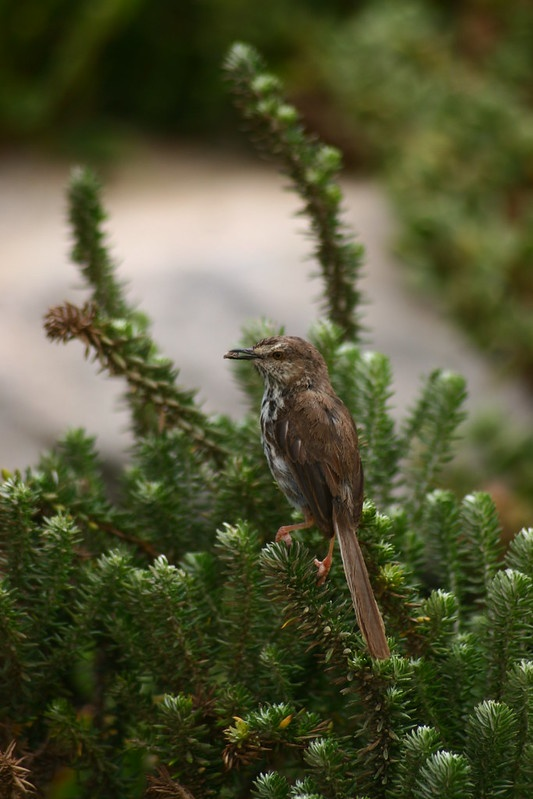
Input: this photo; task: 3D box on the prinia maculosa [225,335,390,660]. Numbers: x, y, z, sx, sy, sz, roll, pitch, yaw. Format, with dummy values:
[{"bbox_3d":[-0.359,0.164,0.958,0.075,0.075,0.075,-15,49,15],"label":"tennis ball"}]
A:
[{"bbox_3d":[0.065,0.147,1.732,0.223,0.622,0.161,-14,-40,15],"label":"prinia maculosa"}]
